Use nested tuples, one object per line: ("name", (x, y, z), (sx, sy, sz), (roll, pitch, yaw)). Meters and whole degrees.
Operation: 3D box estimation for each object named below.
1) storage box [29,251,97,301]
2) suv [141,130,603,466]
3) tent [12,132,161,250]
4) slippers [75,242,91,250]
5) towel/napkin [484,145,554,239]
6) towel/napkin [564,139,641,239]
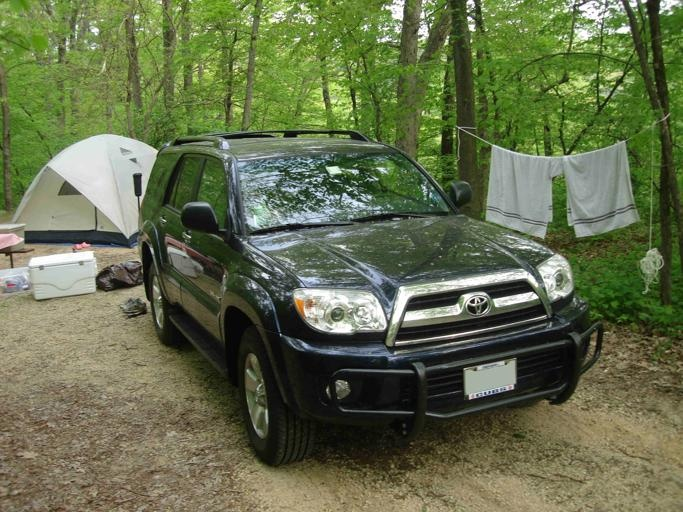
("storage box", (-4.514, 0.327, 8.520), (0.969, 0.654, 0.482), (-7, 15, -24))
("suv", (-0.016, 0.160, 4.540), (2.274, 2.570, 3.360), (-10, 16, -34))
("tent", (-5.982, -1.648, 13.011), (3.148, 2.055, 3.790), (0, 12, 3))
("slippers", (-5.680, -0.186, 11.416), (0.262, 0.093, 0.337), (8, 11, 36))
("towel/napkin", (2.840, -0.974, 8.322), (0.189, 1.315, 1.367), (-14, 23, -26))
("towel/napkin", (3.615, -0.935, 7.503), (0.140, 1.238, 1.186), (3, -6, -30))
